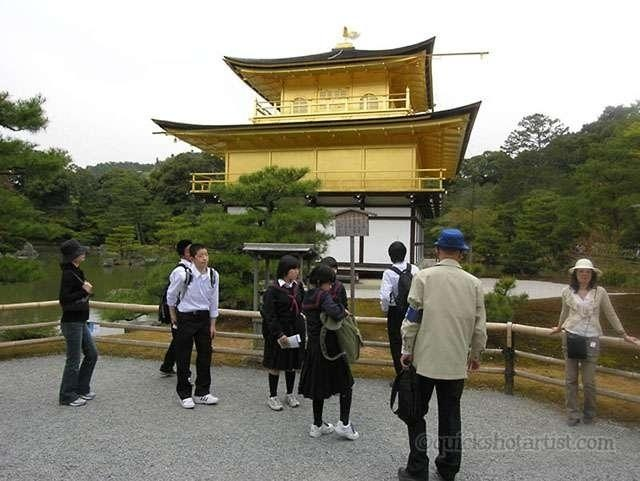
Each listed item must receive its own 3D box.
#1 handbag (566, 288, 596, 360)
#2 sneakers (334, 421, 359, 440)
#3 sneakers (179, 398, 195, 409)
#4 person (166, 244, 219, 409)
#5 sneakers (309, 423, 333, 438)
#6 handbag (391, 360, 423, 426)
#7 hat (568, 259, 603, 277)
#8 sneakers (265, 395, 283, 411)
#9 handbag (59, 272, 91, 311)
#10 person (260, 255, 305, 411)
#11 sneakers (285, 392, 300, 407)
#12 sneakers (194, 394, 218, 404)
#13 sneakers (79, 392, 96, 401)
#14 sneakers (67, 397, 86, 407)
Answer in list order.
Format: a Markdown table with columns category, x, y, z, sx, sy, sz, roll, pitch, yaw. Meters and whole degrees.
| category | x | y | z | sx | sy | sz | roll | pitch | yaw |
| --- | --- | --- | --- | --- | --- | --- | --- | --- | --- |
| handbag | 3.674 | 1.174 | 8.015 | 0.370 | 1.059 | 0.565 | 12 | -11 | -39 |
| sneakers | 0.337 | 2.455 | 7.484 | 0.380 | 0.172 | 0.158 | 20 | 6 | -10 |
| sneakers | -1.870 | 2.294 | 8.140 | 0.189 | 0.133 | 0.157 | -2 | 2 | -22 |
| person | -1.843 | 1.200 | 8.390 | 0.726 | 2.300 | 0.662 | -2 | 2 | -18 |
| sneakers | 0.020 | 2.475 | 7.548 | 0.356 | 0.141 | 0.127 | -2 | -1 | -32 |
| handbag | 0.990 | 1.809 | 6.828 | 0.251 | 0.662 | 0.413 | -2 | 2 | -32 |
| hat | 3.807 | 0.350 | 8.205 | 0.594 | 0.228 | 0.611 | -3 | -11 | 30 |
| sneakers | -0.644 | 2.314 | 8.198 | 0.272 | 0.110 | 0.122 | 0 | 0 | 41 |
| handbag | -3.474 | 0.697 | 8.200 | 0.384 | 0.488 | 0.529 | 7 | 1 | 10 |
| person | -0.516 | 1.304 | 8.117 | 0.607 | 2.185 | 0.326 | -1 | 2 | -6 |
| sneakers | -0.399 | 2.307 | 8.310 | 0.105 | 0.111 | 0.276 | 2 | 4 | 14 |
| sneakers | -1.635 | 2.295 | 8.325 | 0.365 | 0.145 | 0.128 | 0 | -10 | 9 |
| sneakers | -3.349 | 2.248 | 8.276 | 0.173 | 0.073 | 0.072 | 1 | 2 | 0 |
| sneakers | -3.431 | 2.274 | 8.086 | 0.231 | 0.097 | 0.085 | -3 | 11 | -2 |
